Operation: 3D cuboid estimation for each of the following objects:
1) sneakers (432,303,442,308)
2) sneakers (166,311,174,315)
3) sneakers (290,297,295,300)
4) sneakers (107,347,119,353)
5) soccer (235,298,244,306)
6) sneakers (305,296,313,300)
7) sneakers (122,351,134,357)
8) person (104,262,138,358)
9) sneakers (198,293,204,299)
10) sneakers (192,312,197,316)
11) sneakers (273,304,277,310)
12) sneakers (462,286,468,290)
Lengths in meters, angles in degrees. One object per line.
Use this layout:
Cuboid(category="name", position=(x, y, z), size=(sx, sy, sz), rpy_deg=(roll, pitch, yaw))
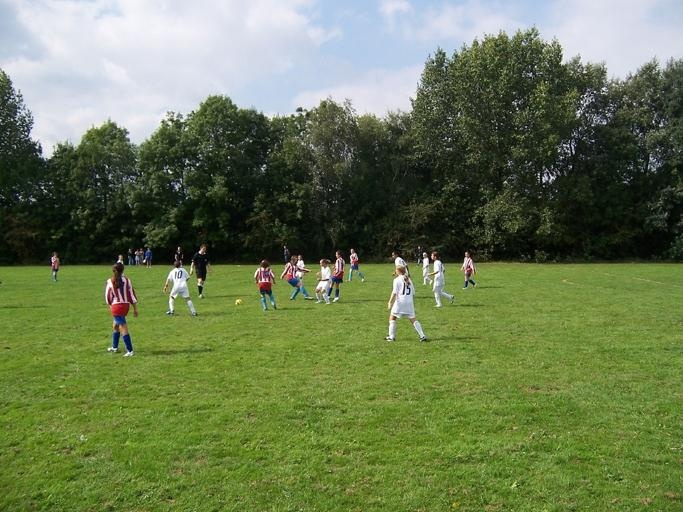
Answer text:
Cuboid(category="sneakers", position=(3.824, 1.937, 23.851), size=(0.255, 0.116, 0.689), rpy_deg=(0, -1, 7))
Cuboid(category="sneakers", position=(-6.422, 2.105, 22.668), size=(0.137, 0.204, 0.265), rpy_deg=(0, -8, -44))
Cuboid(category="sneakers", position=(-2.108, 1.807, 26.032), size=(0.106, 0.199, 0.189), rpy_deg=(3, -14, 9))
Cuboid(category="sneakers", position=(-6.529, 2.670, 17.240), size=(0.320, 0.171, 0.126), rpy_deg=(3, 0, 16))
Cuboid(category="soccer", position=(-4.245, 1.893, 24.922), size=(0.215, 0.246, 0.291), rpy_deg=(-8, -2, -5))
Cuboid(category="sneakers", position=(-1.435, 1.805, 26.220), size=(0.388, 0.194, 0.145), rpy_deg=(-1, 3, 16))
Cuboid(category="sneakers", position=(-5.927, 2.705, 16.844), size=(0.276, 0.138, 0.110), rpy_deg=(1, -3, 9))
Cuboid(category="person", position=(-6.272, 1.478, 17.252), size=(0.768, 2.317, 1.279), rpy_deg=(0, 0, -21))
Cuboid(category="sneakers", position=(-6.388, 1.790, 27.554), size=(0.168, 0.242, 0.554), rpy_deg=(-1, -2, -22))
Cuboid(category="sneakers", position=(-5.448, 2.135, 22.372), size=(0.094, 0.134, 0.290), rpy_deg=(1, -7, -21))
Cuboid(category="sneakers", position=(-2.597, 1.950, 23.411), size=(0.081, 0.189, 0.265), rpy_deg=(-4, -31, 3))
Cuboid(category="sneakers", position=(6.092, 1.554, 29.965), size=(0.137, 0.185, 0.432), rpy_deg=(-1, -6, 19))
